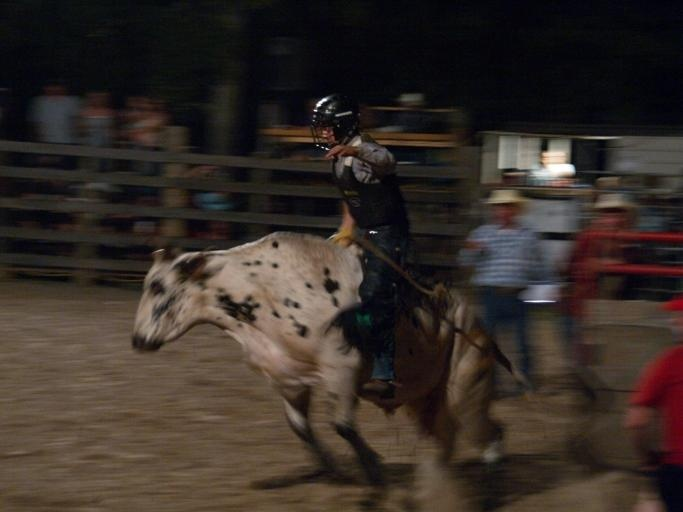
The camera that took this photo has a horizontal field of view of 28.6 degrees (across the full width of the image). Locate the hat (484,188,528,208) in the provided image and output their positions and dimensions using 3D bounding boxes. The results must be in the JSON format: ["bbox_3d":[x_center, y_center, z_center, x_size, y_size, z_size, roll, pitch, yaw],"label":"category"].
[{"bbox_3d":[1.411,-0.498,11.430,0.315,0.142,0.307,3,4,5],"label":"hat"}]

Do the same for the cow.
[{"bbox_3d":[-0.125,0.705,9.341,2.521,1.737,0.623,2,7,-21],"label":"cow"}]

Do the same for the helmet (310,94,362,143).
[{"bbox_3d":[-0.049,-0.979,9.402,0.478,0.320,0.300,-6,14,-4],"label":"helmet"}]
